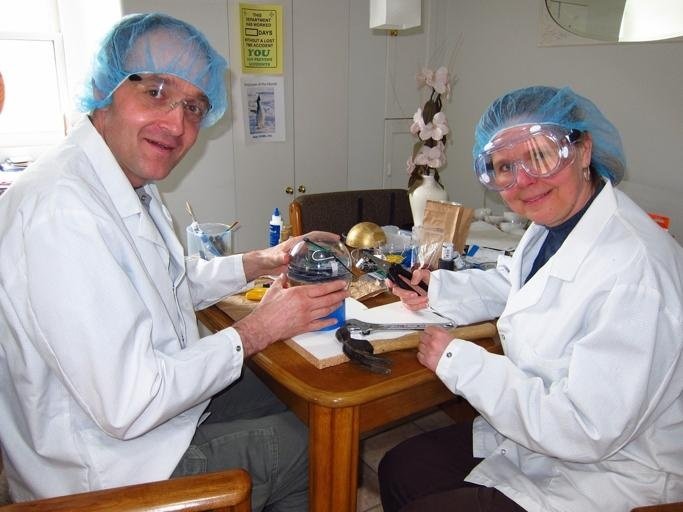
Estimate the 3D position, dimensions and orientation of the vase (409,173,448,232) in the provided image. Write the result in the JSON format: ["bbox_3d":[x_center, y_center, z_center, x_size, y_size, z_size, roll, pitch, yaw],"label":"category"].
[{"bbox_3d":[0.402,-0.279,2.392,0.134,0.295,0.158,-9,22,-36],"label":"vase"}]

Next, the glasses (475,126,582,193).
[{"bbox_3d":[0.521,-0.298,1.402,0.206,0.181,0.270,-12,22,-33],"label":"glasses"}]

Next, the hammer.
[{"bbox_3d":[0.252,0.261,1.494,0.509,0.056,0.300,-3,12,-9],"label":"hammer"}]
